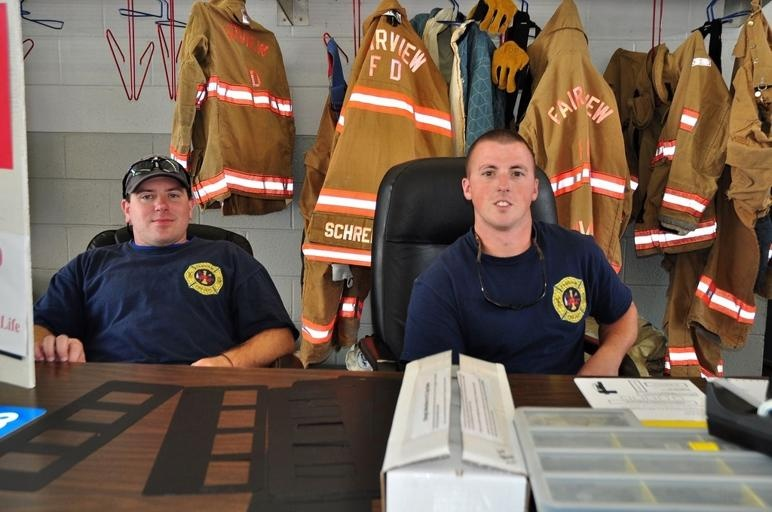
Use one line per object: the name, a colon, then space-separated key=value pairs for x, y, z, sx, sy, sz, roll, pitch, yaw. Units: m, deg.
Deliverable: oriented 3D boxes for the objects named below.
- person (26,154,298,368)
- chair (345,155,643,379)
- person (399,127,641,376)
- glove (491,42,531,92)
person: x=-0.857 y=0.033 z=2.477 sx=0.970 sy=0.784 sz=0.578 roll=0 pitch=4 yaw=-1
chair: x=0.314 y=-0.065 z=2.681 sx=0.835 sy=1.133 sz=0.807 roll=-4 pitch=10 yaw=-6
person: x=0.453 y=0.040 z=2.558 sx=0.964 sy=1.257 sz=0.802 roll=-2 pitch=3 yaw=-3
glove: x=0.594 y=-0.920 z=3.168 sx=0.191 sy=0.242 sz=0.065 roll=-1 pitch=7 yaw=2
